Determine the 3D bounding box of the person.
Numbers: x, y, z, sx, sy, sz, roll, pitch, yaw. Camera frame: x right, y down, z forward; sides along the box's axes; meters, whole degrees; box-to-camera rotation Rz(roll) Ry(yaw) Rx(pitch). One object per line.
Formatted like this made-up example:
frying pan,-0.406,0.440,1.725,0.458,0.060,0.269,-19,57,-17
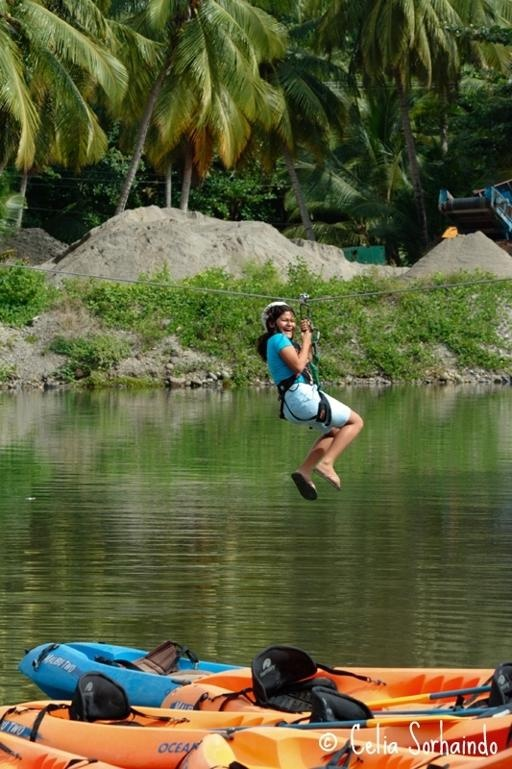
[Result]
person,0.362,0.133,9.361,0.557,1.501,0.744,0,2,41

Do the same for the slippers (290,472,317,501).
slippers,0.386,0.744,9.470,0.081,0.258,0.132,-27,8,-18
